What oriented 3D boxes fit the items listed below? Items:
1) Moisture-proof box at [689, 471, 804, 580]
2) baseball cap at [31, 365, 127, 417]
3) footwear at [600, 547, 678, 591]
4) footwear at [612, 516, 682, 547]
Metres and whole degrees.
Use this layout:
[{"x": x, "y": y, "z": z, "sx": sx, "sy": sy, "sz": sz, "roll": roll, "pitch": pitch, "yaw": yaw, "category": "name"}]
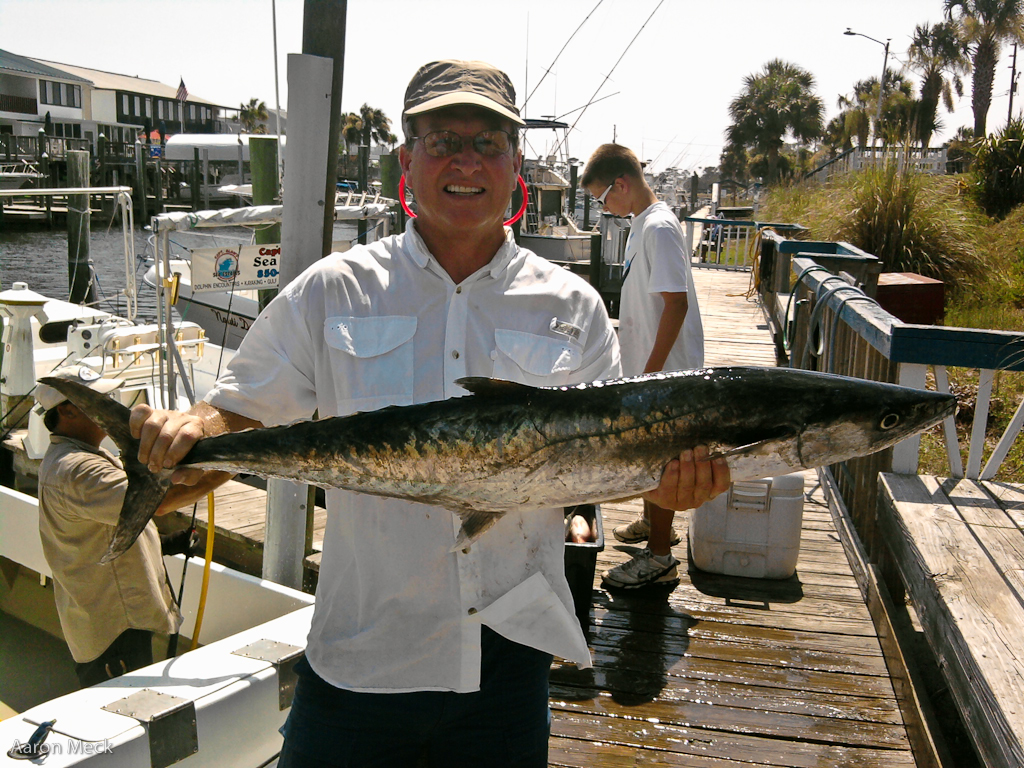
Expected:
[{"x": 1.575, "y": 0.786, "z": 6.194, "sx": 0.587, "sy": 0.742, "sz": 1.040, "roll": 3, "pitch": 15, "yaw": 7, "category": "Moisture-proof box"}, {"x": -2.711, "y": 0.026, "z": 5.650, "sx": 0.518, "sy": 0.225, "sz": 0.344, "roll": -13, "pitch": 16, "yaw": -10, "category": "baseball cap"}, {"x": 0.775, "y": 1.153, "z": 5.699, "sx": 0.492, "sy": 0.253, "sz": 0.206, "roll": 0, "pitch": 22, "yaw": 2, "category": "footwear"}, {"x": 0.916, "y": 1.032, "z": 6.267, "sx": 0.493, "sy": 0.272, "sz": 0.195, "roll": 4, "pitch": 13, "yaw": 2, "category": "footwear"}]
